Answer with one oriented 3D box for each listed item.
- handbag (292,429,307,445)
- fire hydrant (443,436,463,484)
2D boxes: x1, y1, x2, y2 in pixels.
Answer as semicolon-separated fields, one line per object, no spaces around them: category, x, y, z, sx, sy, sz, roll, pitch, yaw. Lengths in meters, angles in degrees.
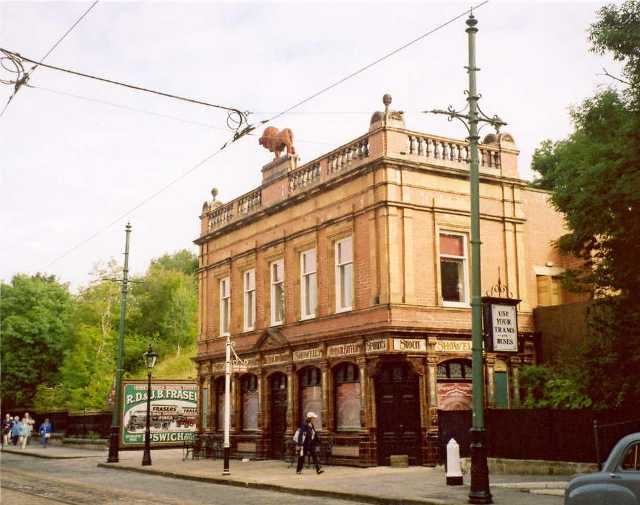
handbag;-0.723;6.400;26.734;0.467;0.636;0.323;-16;-23;41
fire hydrant;3.822;6.016;22.063;0.480;1.278;0.535;-1;-17;0
